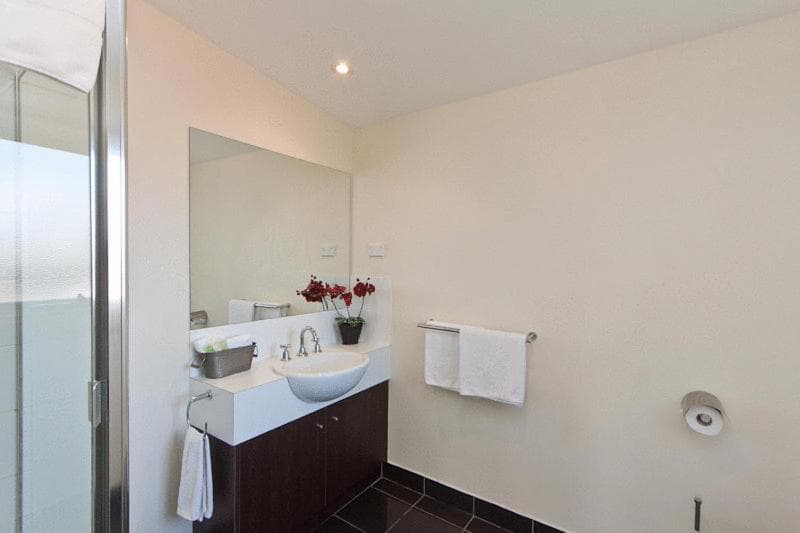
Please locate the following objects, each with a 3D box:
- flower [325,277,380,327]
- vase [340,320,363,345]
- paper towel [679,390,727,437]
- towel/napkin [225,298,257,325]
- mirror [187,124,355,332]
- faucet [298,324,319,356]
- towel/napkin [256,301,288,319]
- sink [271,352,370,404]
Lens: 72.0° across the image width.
[{"bbox_3d":[-0.345,0.234,3.796,0.315,0.339,0.307,7,3,36],"label":"flower"},{"bbox_3d":[-0.329,0.436,3.665,0.146,0.146,0.168,2,-4,-14],"label":"vase"},{"bbox_3d":[1.551,0.740,2.770,0.201,0.255,0.060,-2,12,34],"label":"paper towel"},{"bbox_3d":[-0.922,0.254,3.183,0.006,0.136,0.181,-1,0,42],"label":"towel/napkin"},{"bbox_3d":[-0.814,-0.230,3.311,0.026,1.124,1.417,3,1,36],"label":"mirror"},{"bbox_3d":[-0.562,0.468,3.432,0.165,0.177,0.157,-8,-8,36],"label":"faucet"},{"bbox_3d":[-0.787,0.241,3.325,0.132,0.134,0.102,-5,4,-34],"label":"towel/napkin"},{"bbox_3d":[-0.470,0.622,3.148,0.299,0.142,0.389,1,5,29],"label":"sink"}]
